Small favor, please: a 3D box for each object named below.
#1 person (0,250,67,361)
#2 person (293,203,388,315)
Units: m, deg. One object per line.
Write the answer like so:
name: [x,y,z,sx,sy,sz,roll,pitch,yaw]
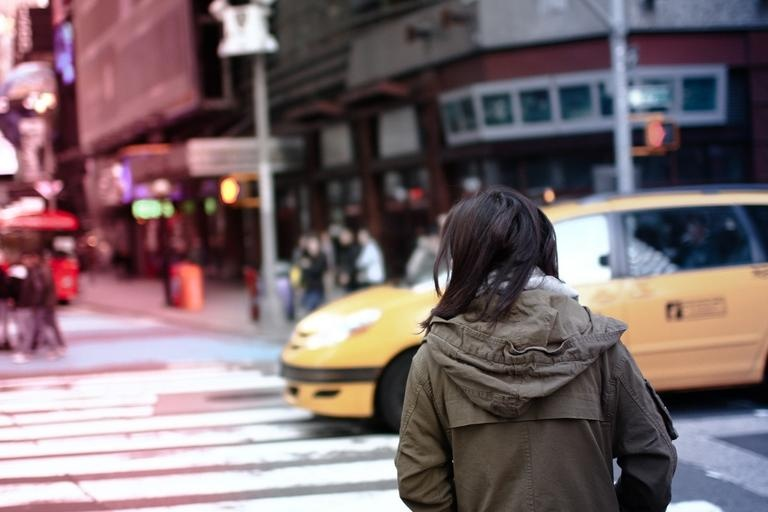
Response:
person: [-3.806,0.605,10.596,0.453,1.453,0.570,7,-36,-34]
person: [-0.676,-0.004,18.152,1.893,0.957,1.394,-12,-6,-28]
